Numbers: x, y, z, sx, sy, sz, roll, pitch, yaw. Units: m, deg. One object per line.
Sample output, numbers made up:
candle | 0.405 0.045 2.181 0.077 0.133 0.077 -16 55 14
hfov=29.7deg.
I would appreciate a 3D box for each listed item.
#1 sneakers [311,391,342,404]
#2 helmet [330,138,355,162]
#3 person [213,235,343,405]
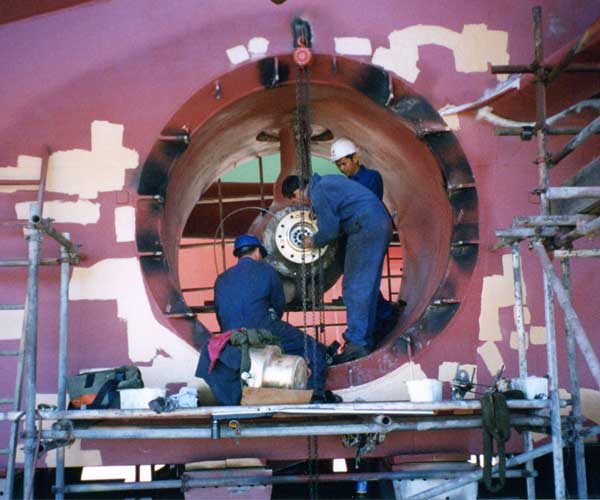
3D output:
sneakers | 0.226 1.215 9.367 0.246 0.137 0.549 -3 -12 1
helmet | 0.410 -0.942 10.466 0.166 0.127 0.212 3 20 46
person | -0.243 0.549 9.701 0.966 1.580 0.741 -2 -11 -6
